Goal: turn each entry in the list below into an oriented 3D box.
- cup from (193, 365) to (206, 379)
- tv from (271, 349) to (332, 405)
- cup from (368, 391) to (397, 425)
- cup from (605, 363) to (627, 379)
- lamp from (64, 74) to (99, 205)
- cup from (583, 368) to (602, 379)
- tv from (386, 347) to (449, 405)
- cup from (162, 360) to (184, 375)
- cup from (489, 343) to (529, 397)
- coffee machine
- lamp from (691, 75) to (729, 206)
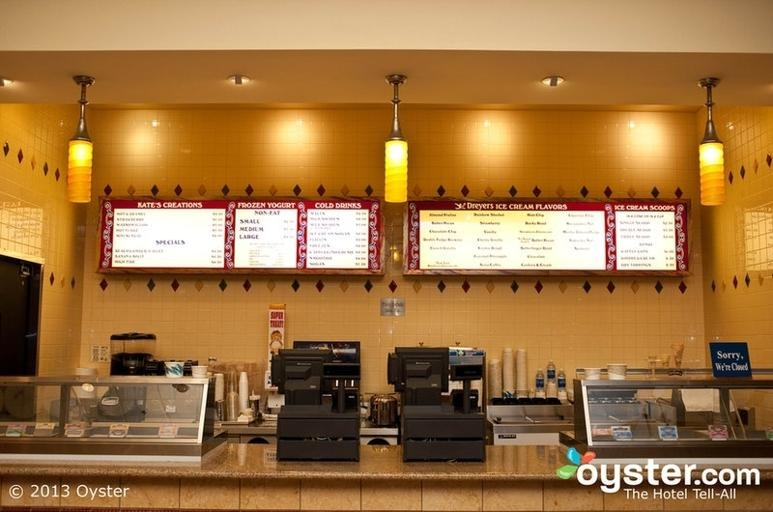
[{"bbox_3d":[-1.620,1.005,6.606,0.121,0.083,0.117,0,-11,0],"label":"cup"},{"bbox_3d":[-0.703,1.052,6.624,0.516,0.470,0.426,0,2,1],"label":"tv"},{"bbox_3d":[-0.034,1.628,8.032,0.325,0.324,0.234,0,-11,4],"label":"cup"},{"bbox_3d":[1.998,0.997,6.606,0.164,0.107,0.157,3,-13,1],"label":"cup"},{"bbox_3d":[-2.633,-1.000,6.586,0.212,1.061,0.405,5,-12,-21],"label":"lamp"},{"bbox_3d":[1.773,1.005,6.548,0.140,0.077,0.136,1,-9,0],"label":"cup"},{"bbox_3d":[0.279,0.997,6.629,0.613,0.527,0.460,0,-10,1],"label":"tv"},{"bbox_3d":[-2.047,1.076,7.307,0.225,0.162,0.218,1,-3,0],"label":"cup"},{"bbox_3d":[1.339,1.269,8.356,0.433,0.549,0.238,-1,-11,6],"label":"cup"},{"bbox_3d":[-2.627,1.041,8.196,0.938,0.476,0.608,-1,-13,5],"label":"coffee machine"},{"bbox_3d":[2.786,-0.976,6.525,0.224,1.074,0.355,-4,-12,22],"label":"lamp"}]
